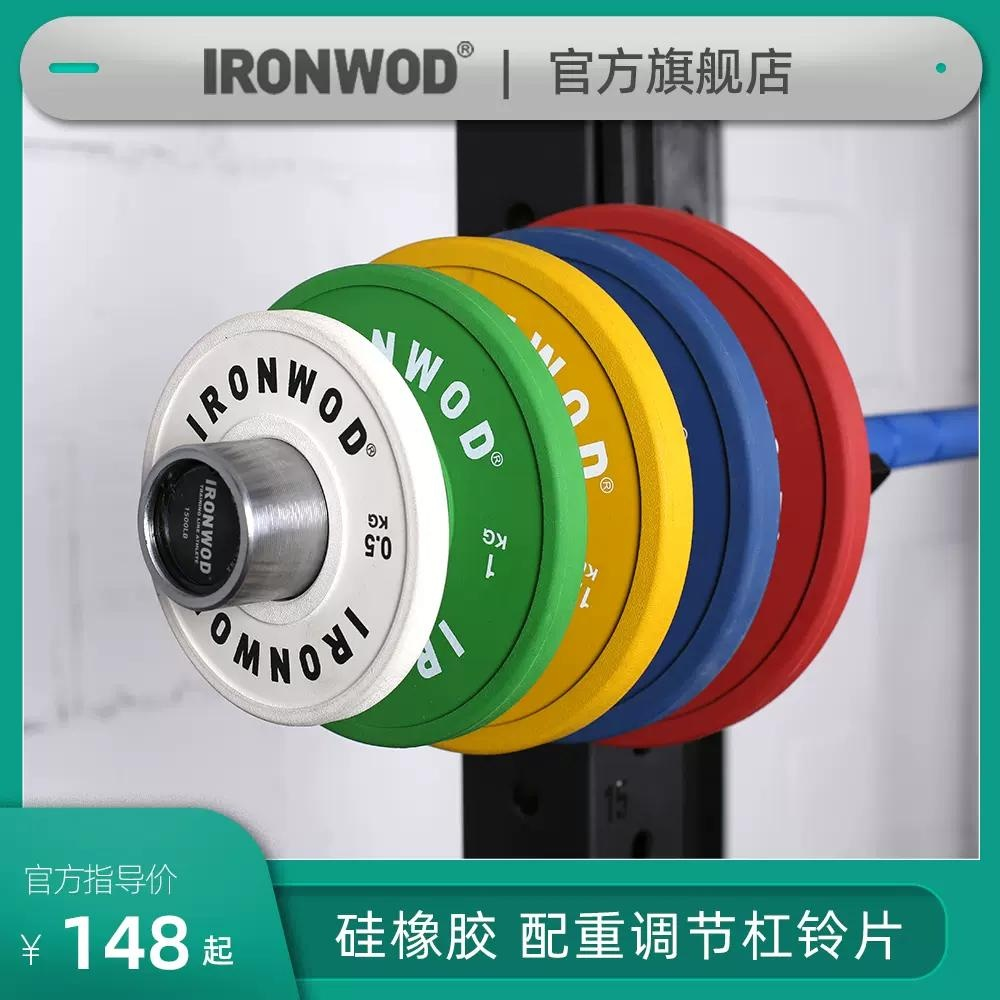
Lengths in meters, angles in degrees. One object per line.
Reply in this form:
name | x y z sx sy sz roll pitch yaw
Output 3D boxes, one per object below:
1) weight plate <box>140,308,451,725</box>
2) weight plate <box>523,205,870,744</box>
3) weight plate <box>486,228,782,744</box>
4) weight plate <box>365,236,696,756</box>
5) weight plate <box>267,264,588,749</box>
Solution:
weight plate | -0.333 0.023 1.854 0.443 0.675 0.304 10 21 4
weight plate | 0.307 -0.033 2.088 0.207 0.756 1.046 1 86 -36
weight plate | 0.209 -0.025 2.027 0.190 0.703 0.966 1 84 -34
weight plate | 0.040 -0.008 1.921 0.181 0.643 0.913 2 84 -38
weight plate | -0.202 0.025 1.847 0.600 0.116 0.917 5 58 -9
